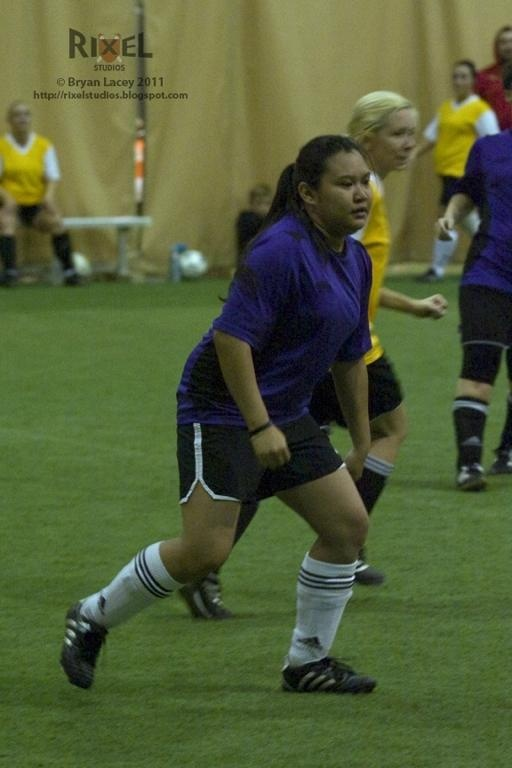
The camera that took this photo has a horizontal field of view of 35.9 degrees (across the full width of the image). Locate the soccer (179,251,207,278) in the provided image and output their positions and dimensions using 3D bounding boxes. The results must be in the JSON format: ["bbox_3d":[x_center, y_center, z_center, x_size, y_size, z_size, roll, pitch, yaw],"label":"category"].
[{"bbox_3d":[-0.933,-1.737,11.495,0.343,0.267,0.328,31,-32,-13],"label":"soccer"}]

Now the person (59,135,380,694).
[{"bbox_3d":[-0.055,0.060,1.615,0.674,1.144,0.407,0,4,-5],"label":"person"}]

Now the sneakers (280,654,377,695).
[{"bbox_3d":[0.147,0.603,1.663,0.230,0.083,0.071,0,-5,-5],"label":"sneakers"}]

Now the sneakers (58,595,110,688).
[{"bbox_3d":[-0.343,0.536,1.640,0.089,0.177,0.068,-20,-31,36],"label":"sneakers"}]

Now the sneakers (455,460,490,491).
[{"bbox_3d":[0.912,0.396,3.351,0.126,0.119,0.097,2,4,16],"label":"sneakers"}]
